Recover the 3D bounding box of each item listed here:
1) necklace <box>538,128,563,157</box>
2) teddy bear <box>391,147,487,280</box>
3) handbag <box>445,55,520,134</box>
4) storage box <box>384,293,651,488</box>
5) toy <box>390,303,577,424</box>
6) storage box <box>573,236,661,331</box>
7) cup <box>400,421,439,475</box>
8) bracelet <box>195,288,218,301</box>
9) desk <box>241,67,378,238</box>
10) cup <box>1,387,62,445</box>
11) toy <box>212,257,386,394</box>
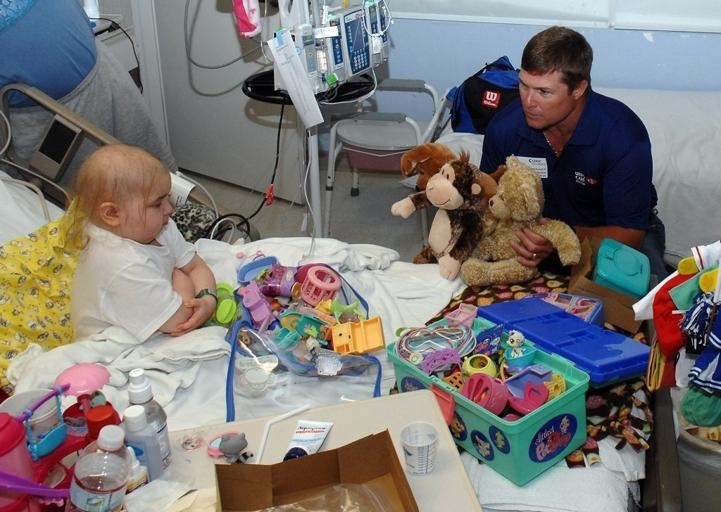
[{"bbox_3d":[0.785,-0.469,2.146,0.062,0.111,0.027,34,72,32],"label":"necklace"},{"bbox_3d":[0.342,-0.182,2.248,0.318,0.562,0.380,-10,41,-30],"label":"teddy bear"},{"bbox_3d":[0.680,-0.862,2.959,0.483,0.360,0.482,-3,1,-11],"label":"handbag"},{"bbox_3d":[0.347,0.336,1.407,0.328,0.148,0.403,-20,30,-32],"label":"storage box"},{"bbox_3d":[0.347,0.312,1.503,0.291,0.120,0.347,-19,33,-35],"label":"toy"},{"bbox_3d":[0.873,0.044,1.793,0.262,0.116,0.343,24,54,9],"label":"storage box"},{"bbox_3d":[0.120,0.410,1.152,0.089,0.076,0.098,-2,32,1],"label":"cup"},{"bbox_3d":[-0.526,0.131,1.795,0.062,0.060,0.040,-13,62,26],"label":"bracelet"},{"bbox_3d":[-0.197,-0.762,3.213,0.756,0.583,0.770,18,42,23],"label":"desk"},{"bbox_3d":[-0.673,0.334,1.068,0.094,0.076,0.093,4,30,-2],"label":"cup"},{"bbox_3d":[-0.189,0.192,1.774,0.371,0.157,0.518,8,47,-2],"label":"toy"}]
